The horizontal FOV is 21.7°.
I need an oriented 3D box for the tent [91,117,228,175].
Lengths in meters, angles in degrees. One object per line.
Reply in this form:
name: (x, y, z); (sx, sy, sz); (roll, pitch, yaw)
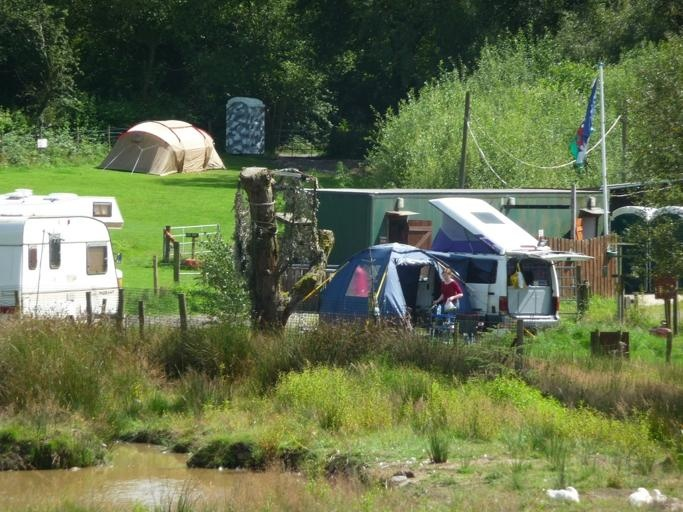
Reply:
tent: (-9.331, -5.815, 92.579); (4.560, 3.064, 6.427); (4, 6, 33)

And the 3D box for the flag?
flag: (10.162, -5.615, 74.313); (0.400, 3.408, 0.751); (16, 4, -1)

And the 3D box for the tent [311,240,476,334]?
tent: (1.696, 0.948, 65.741); (5.260, 2.871, 2.277); (0, -1, -24)

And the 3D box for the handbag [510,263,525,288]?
handbag: (6.581, 0.695, 66.346); (0.600, 0.958, 0.226); (0, -1, -13)
